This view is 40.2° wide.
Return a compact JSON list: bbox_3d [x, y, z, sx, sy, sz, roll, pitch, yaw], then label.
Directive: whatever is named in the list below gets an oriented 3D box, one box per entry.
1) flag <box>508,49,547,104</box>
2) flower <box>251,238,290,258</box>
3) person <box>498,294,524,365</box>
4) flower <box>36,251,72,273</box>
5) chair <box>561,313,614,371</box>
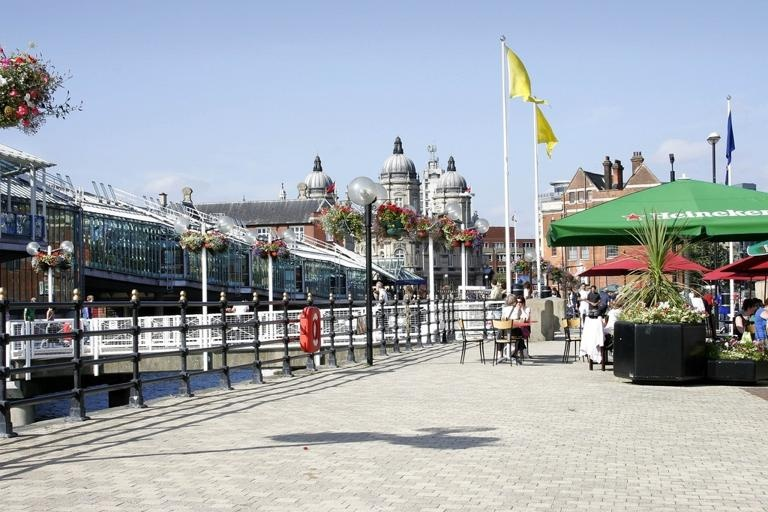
[{"bbox_3d":[4.645,-5.982,34.026,1.577,1.703,0.218,3,-9,-37],"label":"flag"},{"bbox_3d":[-4.327,-0.318,40.664,1.304,0.731,1.191,-2,2,-8],"label":"flower"},{"bbox_3d":[2.809,1.584,22.624,0.547,1.451,1.986,-1,2,6],"label":"person"},{"bbox_3d":[-11.477,0.168,36.367,0.789,0.464,0.918,0,-1,21],"label":"flower"},{"bbox_3d":[4.421,1.860,22.307,0.536,0.751,1.465,-1,-1,6],"label":"chair"}]
